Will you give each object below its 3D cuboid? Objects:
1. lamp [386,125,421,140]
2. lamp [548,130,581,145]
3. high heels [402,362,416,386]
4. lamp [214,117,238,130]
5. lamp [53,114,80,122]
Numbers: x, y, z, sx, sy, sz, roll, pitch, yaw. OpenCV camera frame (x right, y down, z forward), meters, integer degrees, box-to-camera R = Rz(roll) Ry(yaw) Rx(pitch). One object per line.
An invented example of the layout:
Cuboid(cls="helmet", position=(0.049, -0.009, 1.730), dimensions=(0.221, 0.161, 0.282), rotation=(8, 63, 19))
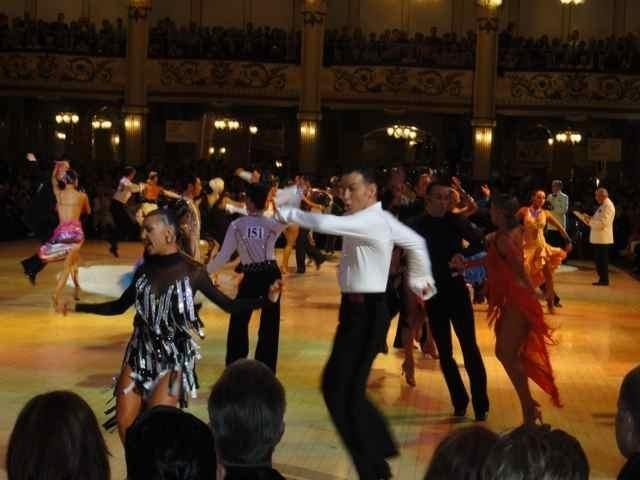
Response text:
Cuboid(cls="lamp", position=(3.093, -3.980, 23.086), dimensions=(1.132, 0.499, 1.603), rotation=(3, 6, 12))
Cuboid(cls="lamp", position=(8.637, -3.636, 22.069), dimensions=(1.075, 0.545, 1.146), rotation=(4, 6, 17))
Cuboid(cls="high heels", position=(0.867, 1.282, 6.074), dimensions=(0.133, 0.242, 0.203), rotation=(3, 6, 9))
Cuboid(cls="lamp", position=(-3.358, -4.091, 22.079), dimensions=(0.510, 0.267, 0.505), rotation=(4, -5, -40))
Cuboid(cls="lamp", position=(-8.929, -4.321, 22.253), dimensions=(0.468, 0.245, 0.499), rotation=(3, 5, 14))
